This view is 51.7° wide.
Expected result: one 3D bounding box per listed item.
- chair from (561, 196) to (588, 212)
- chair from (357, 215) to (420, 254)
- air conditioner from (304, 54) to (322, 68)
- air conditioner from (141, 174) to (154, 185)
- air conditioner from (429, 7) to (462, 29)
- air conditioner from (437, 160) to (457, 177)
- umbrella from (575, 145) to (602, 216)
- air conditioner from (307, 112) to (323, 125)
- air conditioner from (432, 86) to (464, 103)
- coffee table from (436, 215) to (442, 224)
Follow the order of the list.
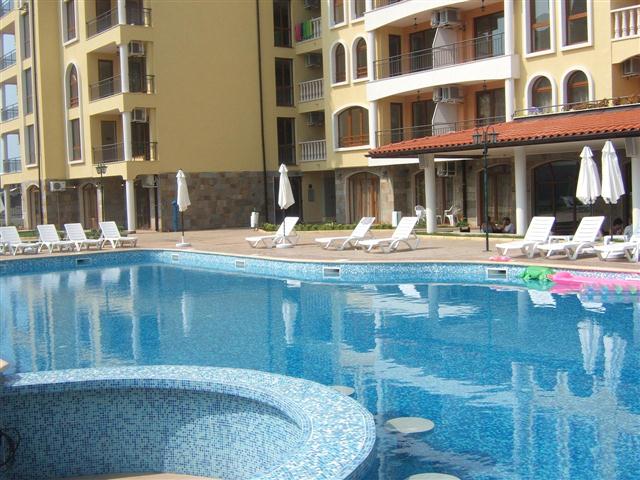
[{"bbox_3d":[9.363,-1.344,24.468,0.782,0.410,0.474,0,6,6],"label":"chair"},{"bbox_3d":[2.212,-0.173,19.857,1.980,0.971,0.942,-3,3,-33],"label":"chair"},{"bbox_3d":[-0.417,-9.658,34.841,0.568,0.759,1.084,-11,16,-43],"label":"air conditioner"},{"bbox_3d":[-8.046,-2.801,30.626,0.589,0.526,0.518,-2,8,-10],"label":"air conditioner"},{"bbox_3d":[5.114,-8.976,26.737,0.785,0.523,0.983,-8,13,-30],"label":"air conditioner"},{"bbox_3d":[5.297,-3.040,28.100,0.781,0.751,0.572,-1,-3,31],"label":"air conditioner"},{"bbox_3d":[7.025,-1.737,17.309,0.564,1.485,1.028,2,8,22],"label":"umbrella"},{"bbox_3d":[-0.314,-6.548,35.375,1.152,0.833,0.620,-1,10,-24],"label":"air conditioner"},{"bbox_3d":[5.181,-5.925,26.846,0.753,0.467,0.782,0,3,-13],"label":"air conditioner"},{"bbox_3d":[5.153,-0.943,28.721,0.280,0.382,0.714,0,8,8],"label":"coffee table"}]
